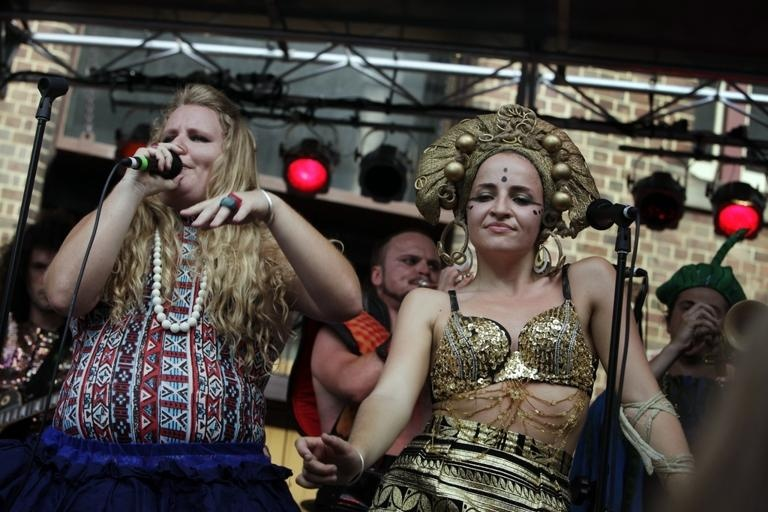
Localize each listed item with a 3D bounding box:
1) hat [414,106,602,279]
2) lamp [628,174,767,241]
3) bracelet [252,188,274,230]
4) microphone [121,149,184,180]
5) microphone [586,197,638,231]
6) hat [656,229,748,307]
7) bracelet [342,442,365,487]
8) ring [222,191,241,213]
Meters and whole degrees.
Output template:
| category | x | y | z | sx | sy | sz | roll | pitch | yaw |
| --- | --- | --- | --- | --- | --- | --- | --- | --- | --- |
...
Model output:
| category | x | y | z | sx | sy | sz | roll | pitch | yaw |
| --- | --- | --- | --- | --- | --- | --- | --- | --- | --- |
| hat | 0.627 | -0.385 | 5.448 | 1.259 | 1.036 | 0.736 | 2 | -6 | 9 |
| lamp | 2.102 | -0.346 | 7.144 | 0.866 | 0.411 | 0.341 | 6 | 11 | 22 |
| bracelet | -0.531 | -0.223 | 4.822 | 0.031 | 0.120 | 0.127 | -7 | -18 | -26 |
| microphone | -1.069 | -0.419 | 4.944 | 0.105 | 0.107 | 0.356 | -8 | -12 | 38 |
| microphone | 1.028 | -0.187 | 4.823 | 0.124 | 0.117 | 0.205 | 22 | -13 | -28 |
| hat | 1.871 | 0.103 | 6.242 | 0.436 | 0.475 | 0.475 | 24 | 0 | 28 |
| bracelet | -0.116 | 0.914 | 4.671 | 0.068 | 0.127 | 0.236 | 5 | -3 | 1 |
| ring | -0.679 | -0.246 | 4.719 | 0.062 | 0.081 | 0.029 | 46 | -21 | 8 |
